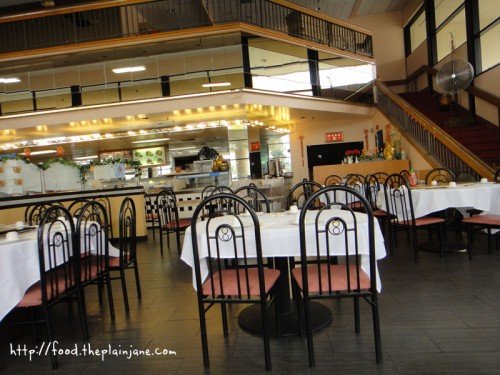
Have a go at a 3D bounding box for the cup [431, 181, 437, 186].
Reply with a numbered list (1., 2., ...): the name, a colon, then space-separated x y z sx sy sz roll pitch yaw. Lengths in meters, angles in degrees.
1. cup: 2.802 -0.078 7.152 0.098 0.093 0.100 -1 12 0

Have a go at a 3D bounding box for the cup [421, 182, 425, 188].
1. cup: 2.701 -0.054 7.334 0.062 0.073 0.099 6 -16 13

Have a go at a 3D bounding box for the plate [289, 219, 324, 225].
1. plate: 0.622 0.356 5.055 0.385 0.052 0.155 -3 1 6

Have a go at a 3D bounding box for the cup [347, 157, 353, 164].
1. cup: 2.533 -0.706 11.830 0.112 0.147 0.429 -3 1 10

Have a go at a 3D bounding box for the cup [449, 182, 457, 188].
1. cup: 2.918 -0.050 6.735 0.091 0.064 0.092 0 -1 0

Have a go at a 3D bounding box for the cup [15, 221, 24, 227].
1. cup: -2.951 0.453 6.006 0.084 0.042 0.086 1 7 0

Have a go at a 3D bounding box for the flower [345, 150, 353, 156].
1. flower: 2.499 -0.892 11.879 0.198 0.091 0.231 -3 2 -11

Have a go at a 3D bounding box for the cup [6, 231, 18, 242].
1. cup: -2.670 0.532 5.263 0.109 0.092 0.109 0 0 0

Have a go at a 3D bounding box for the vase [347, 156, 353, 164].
1. vase: 2.551 -0.725 11.972 0.125 0.187 0.189 0 -3 -3

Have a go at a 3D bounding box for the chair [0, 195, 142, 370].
1. chair: -2.120 1.162 5.531 0.720 1.409 1.764 0 0 14

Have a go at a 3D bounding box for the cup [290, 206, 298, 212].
1. cup: 0.518 0.232 5.517 0.074 0.057 0.072 -1 12 0
